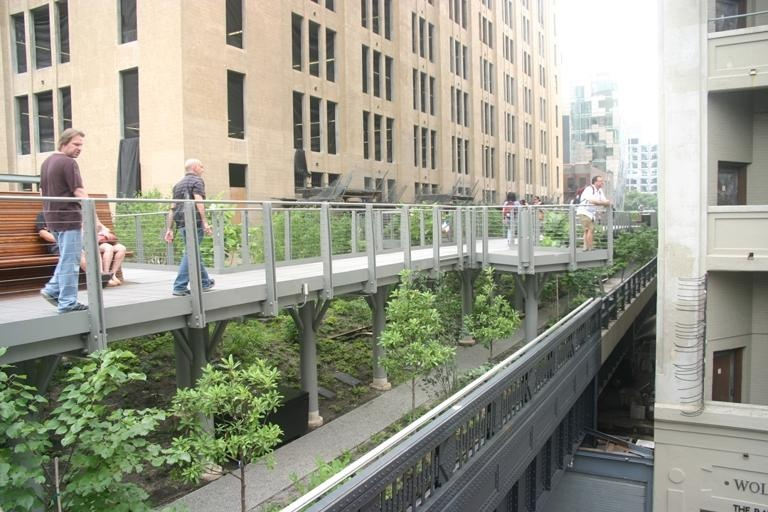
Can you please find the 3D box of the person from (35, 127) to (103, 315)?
[{"bbox_3d":[-5.494,-0.586,10.132,0.754,3.064,0.812,-4,15,-27],"label":"person"}]

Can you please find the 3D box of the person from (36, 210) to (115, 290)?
[{"bbox_3d":[-5.596,-0.093,10.569,0.885,1.440,1.494,0,3,18],"label":"person"}]
